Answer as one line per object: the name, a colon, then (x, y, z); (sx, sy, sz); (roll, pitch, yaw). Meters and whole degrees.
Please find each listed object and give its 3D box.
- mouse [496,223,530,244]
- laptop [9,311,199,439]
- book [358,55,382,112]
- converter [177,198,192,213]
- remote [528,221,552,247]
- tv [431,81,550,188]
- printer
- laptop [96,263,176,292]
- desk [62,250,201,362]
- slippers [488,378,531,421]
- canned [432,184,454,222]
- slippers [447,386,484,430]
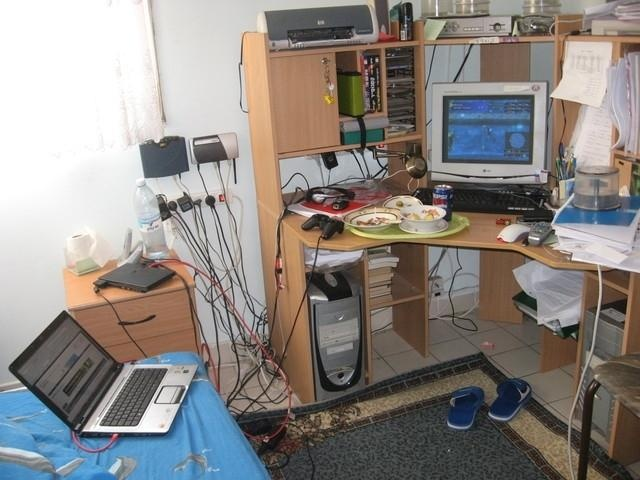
mouse: (0.832, -0.044, 2.169); (0.128, 0.044, 0.073); (-20, 26, -38)
laptop: (-0.783, 0.494, 1.910); (0.519, 0.291, 0.451); (-3, 19, -4)
book: (0.257, -0.792, 2.490); (0.104, 0.276, 0.055); (-8, 24, -7)
converter: (-0.724, -0.205, 2.688); (0.073, 0.077, 0.074); (-23, 62, -3)
remote: (0.926, -0.035, 2.116); (0.068, 0.036, 0.125); (8, 36, 33)
tv: (0.879, -0.583, 2.788); (0.634, 0.525, 0.338); (-1, 3, 0)
printer: (-0.001, -1.016, 2.354); (0.567, 0.176, 0.087); (-12, 25, -17)
laptop: (-0.885, 0.178, 2.402); (0.268, 0.049, 0.254); (8, 17, 7)
desk: (-0.928, 0.261, 2.434); (0.564, 0.441, 0.482); (-7, 23, -25)
slippers: (0.945, 0.800, 2.519); (0.118, 0.114, 0.296); (19, 44, 37)
canned: (0.590, -0.184, 2.422); (0.098, 0.162, 0.096); (-4, 14, -2)
slippers: (0.727, 0.823, 2.508); (0.150, 0.093, 0.345); (6, 18, 30)
